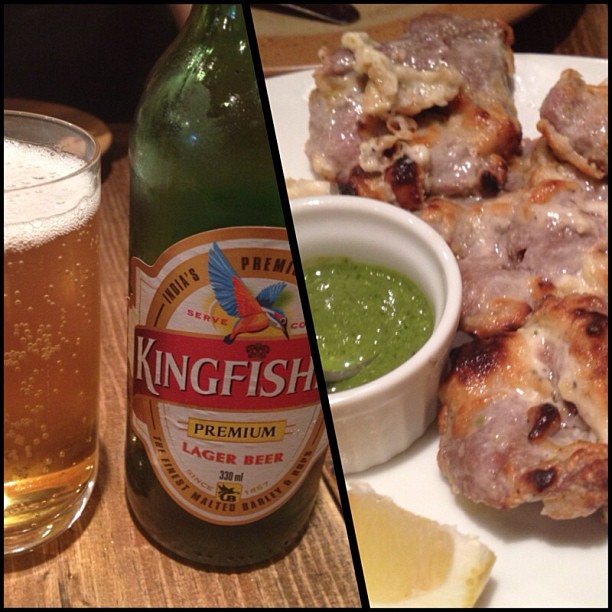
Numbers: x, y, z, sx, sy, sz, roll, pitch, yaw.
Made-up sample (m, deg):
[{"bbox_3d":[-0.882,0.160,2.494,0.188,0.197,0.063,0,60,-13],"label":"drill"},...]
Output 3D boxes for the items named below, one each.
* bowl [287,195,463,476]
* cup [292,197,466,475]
[{"bbox_3d":[0.020,0.011,0.343,0.114,0.081,0.115,-2,52,2],"label":"bowl"},{"bbox_3d":[0.028,0.013,0.344,0.113,0.071,0.115,-1,52,1],"label":"cup"}]
